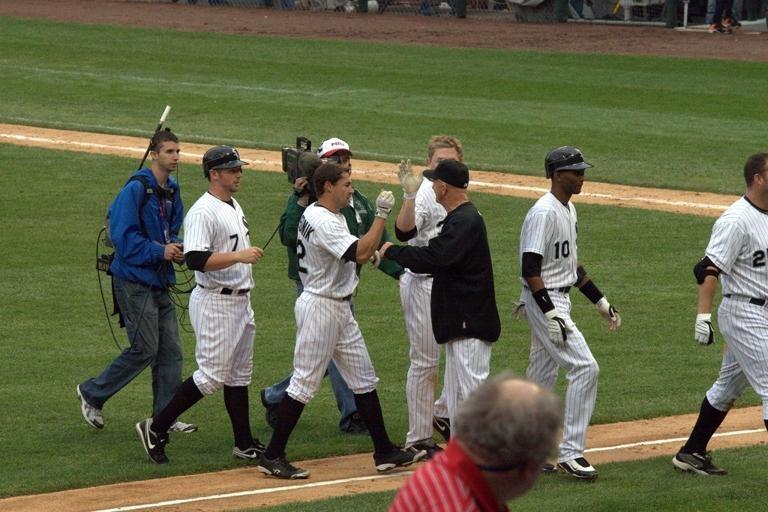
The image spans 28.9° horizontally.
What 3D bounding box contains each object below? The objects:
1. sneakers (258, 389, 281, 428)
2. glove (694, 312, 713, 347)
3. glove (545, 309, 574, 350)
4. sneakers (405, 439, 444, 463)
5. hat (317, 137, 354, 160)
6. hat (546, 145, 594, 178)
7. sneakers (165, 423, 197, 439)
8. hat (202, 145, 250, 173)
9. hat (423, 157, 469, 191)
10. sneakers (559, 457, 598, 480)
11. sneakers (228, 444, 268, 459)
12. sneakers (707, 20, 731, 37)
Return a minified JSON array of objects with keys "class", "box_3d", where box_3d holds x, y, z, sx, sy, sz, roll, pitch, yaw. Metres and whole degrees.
[{"class":"sneakers","box_3d":[-1.568,2.103,20.500,0.296,0.538,0.210,-7,6,7]},{"class":"glove","box_3d":[4.102,0.956,19.166,0.245,0.469,0.311,7,15,13]},{"class":"glove","box_3d":[2.228,0.933,19.196,0.387,0.434,0.137,-28,2,-5]},{"class":"sneakers","box_3d":[0.652,2.565,19.683,0.750,0.246,0.220,-1,7,-5]},{"class":"hat","box_3d":[-0.742,-1.475,20.392,0.350,0.204,0.424,-2,0,-18]},{"class":"hat","box_3d":[2.442,-1.251,19.578,0.609,0.283,0.392,-4,8,8]},{"class":"sneakers","box_3d":[-2.775,2.367,20.344,0.391,0.139,0.137,-6,-3,3]},{"class":"hat","box_3d":[-2.111,-1.278,19.740,0.550,0.248,0.354,-2,12,10]},{"class":"hat","box_3d":[0.853,-1.086,19.326,0.552,0.252,0.358,21,25,18]},{"class":"sneakers","box_3d":[2.477,2.730,19.186,0.537,0.183,0.234,5,5,34]},{"class":"sneakers","box_3d":[-1.811,2.617,19.846,0.526,0.160,0.155,-1,3,-1]},{"class":"sneakers","box_3d":[9.097,-6.176,40.335,0.690,0.249,0.289,-8,21,-30]}]
